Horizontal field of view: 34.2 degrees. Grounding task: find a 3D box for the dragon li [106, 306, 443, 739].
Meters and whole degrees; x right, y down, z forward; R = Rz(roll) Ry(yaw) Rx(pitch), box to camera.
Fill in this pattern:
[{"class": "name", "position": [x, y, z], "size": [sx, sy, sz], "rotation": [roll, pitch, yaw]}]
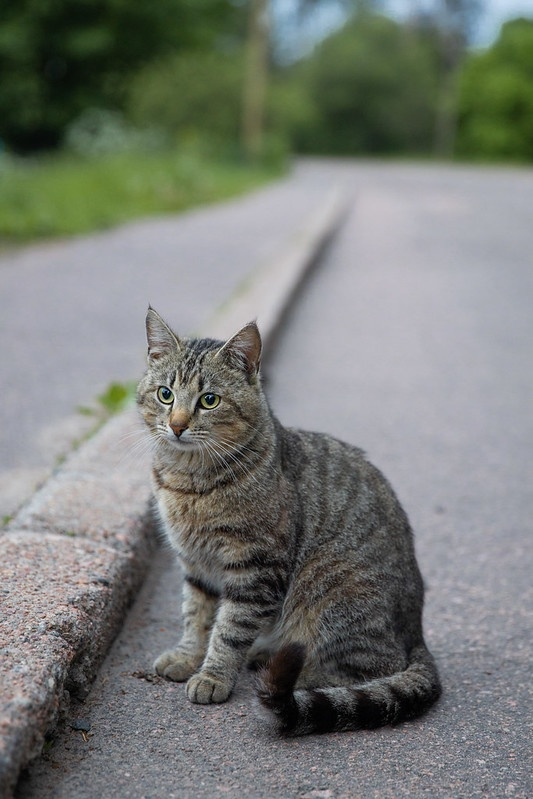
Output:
[{"class": "dragon li", "position": [0.069, 0.343, 2.683], "size": [0.909, 1.125, 1.206], "rotation": [-4, 20, -8]}]
